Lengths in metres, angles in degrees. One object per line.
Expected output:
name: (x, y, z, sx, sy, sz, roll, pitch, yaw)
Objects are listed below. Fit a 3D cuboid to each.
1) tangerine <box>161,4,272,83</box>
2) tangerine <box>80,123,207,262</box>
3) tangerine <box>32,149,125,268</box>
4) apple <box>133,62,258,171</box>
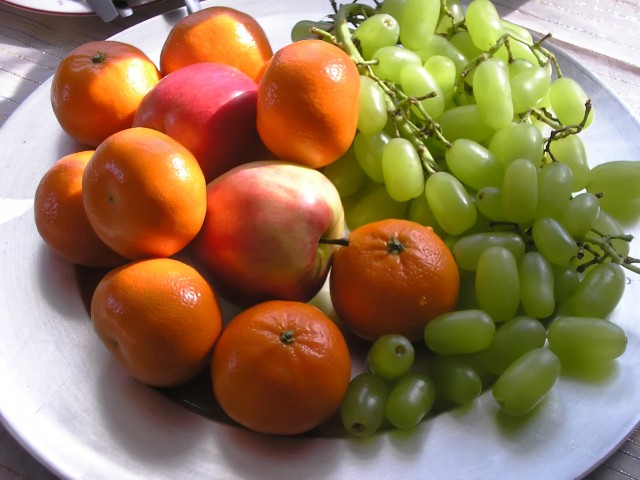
tangerine: (-0.180, -0.301, 1.000, 0.136, 0.128, 0.142, 7, 88, 58)
tangerine: (-0.217, -0.047, 0.813, 0.156, 0.154, 0.176, 22, 88, 22)
tangerine: (-0.359, -0.033, 0.890, 0.137, 0.136, 0.153, -28, 65, 29)
apple: (-0.184, -0.176, 0.861, 0.149, 0.167, 0.176, 3, 86, -11)
